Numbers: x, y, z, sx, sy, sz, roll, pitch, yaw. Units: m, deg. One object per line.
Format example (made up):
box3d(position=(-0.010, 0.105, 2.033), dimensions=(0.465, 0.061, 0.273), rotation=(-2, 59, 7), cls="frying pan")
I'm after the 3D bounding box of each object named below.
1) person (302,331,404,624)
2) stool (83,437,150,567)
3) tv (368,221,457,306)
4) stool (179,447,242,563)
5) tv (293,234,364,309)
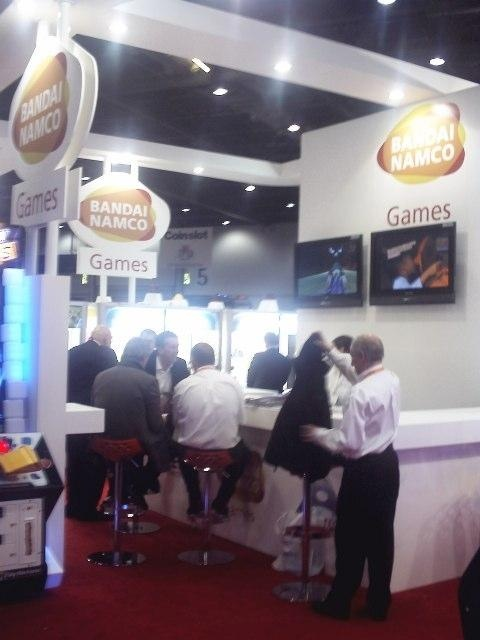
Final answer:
box3d(position=(0.517, 0.681, 2.301), dimensions=(0.382, 1.246, 0.280), rotation=(3, -2, -19), cls="person")
box3d(position=(-0.751, 1.068, 3.169), dimensions=(0.326, 0.749, 0.547), rotation=(3, -2, -17), cls="stool")
box3d(position=(1.330, -0.427, 3.921), dimensions=(0.066, 0.541, 0.500), rotation=(8, -10, -41), cls="tv")
box3d(position=(-0.206, 1.113, 3.212), dimensions=(0.337, 0.691, 0.529), rotation=(2, -2, -9), cls="stool")
box3d(position=(0.813, -0.439, 4.622), dimensions=(0.054, 0.579, 0.547), rotation=(4, -3, -35), cls="tv")
